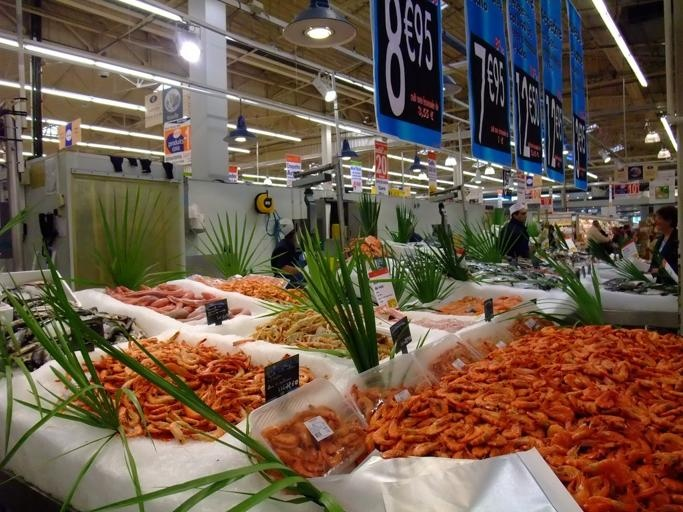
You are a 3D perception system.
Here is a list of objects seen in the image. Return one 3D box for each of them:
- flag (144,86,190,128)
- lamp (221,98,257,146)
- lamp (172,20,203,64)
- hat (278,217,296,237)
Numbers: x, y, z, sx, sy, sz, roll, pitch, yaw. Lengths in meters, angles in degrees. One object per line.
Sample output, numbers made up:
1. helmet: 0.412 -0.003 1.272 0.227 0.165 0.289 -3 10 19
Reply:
1. flag: -2.859 -2.377 6.723 0.812 0.524 0.012 -1 1 23
2. lamp: -1.559 -2.004 6.397 0.548 0.618 0.560 -2 1 37
3. lamp: -1.903 -2.622 5.178 0.261 0.568 0.956 -6 14 -17
4. hat: -0.559 -0.320 4.276 0.147 0.212 0.210 3 32 -8
